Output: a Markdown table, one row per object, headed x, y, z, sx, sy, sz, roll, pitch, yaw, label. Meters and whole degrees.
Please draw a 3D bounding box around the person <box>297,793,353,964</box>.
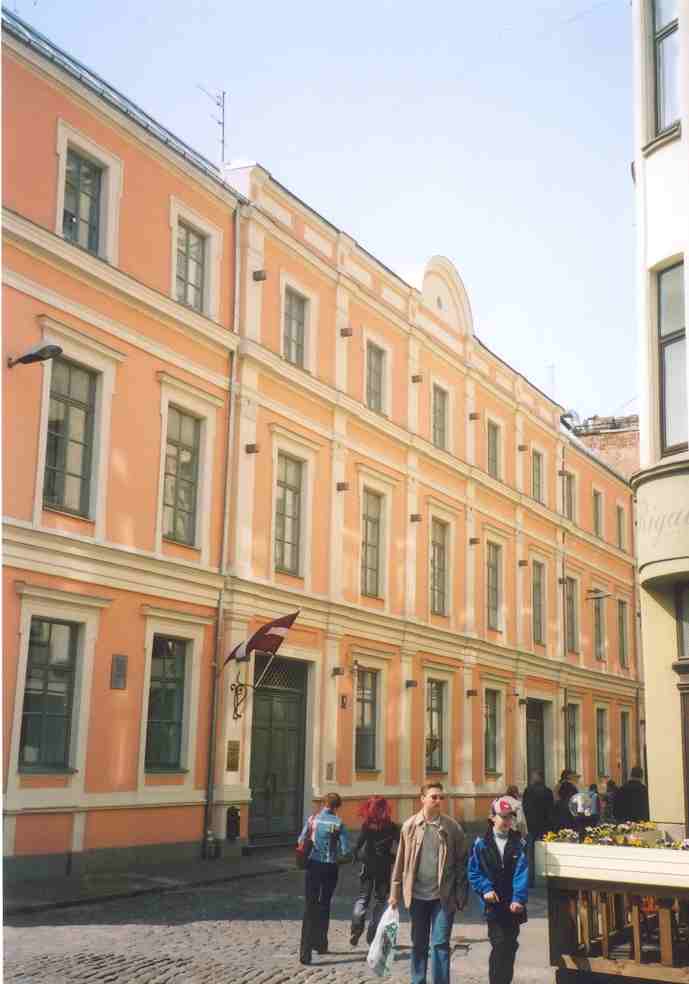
| x | y | z | sx | sy | sz | roll | pitch | yaw | label |
| --- | --- | --- | --- | --- | --- | --- | --- | --- | --- |
| -0.258 | 3.667 | 7.810 | 0.422 | 1.206 | 1.068 | -3 | -16 | 13 | person |
